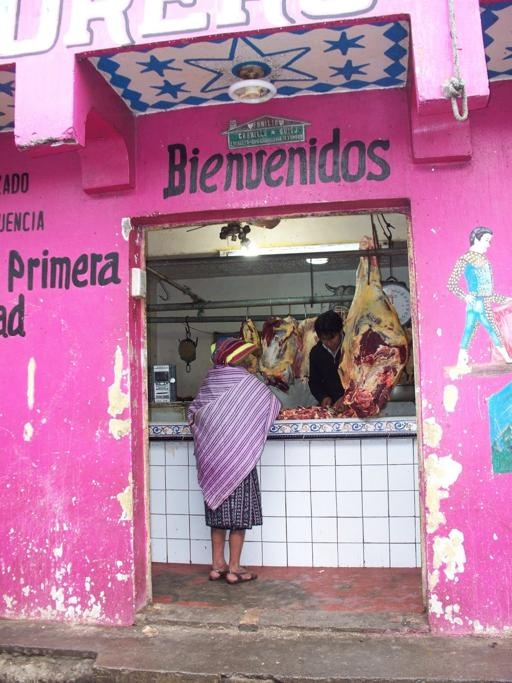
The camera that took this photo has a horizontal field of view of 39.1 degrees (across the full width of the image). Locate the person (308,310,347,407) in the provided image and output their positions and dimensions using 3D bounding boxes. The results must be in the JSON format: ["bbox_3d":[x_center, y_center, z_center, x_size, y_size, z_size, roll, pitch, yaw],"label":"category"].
[{"bbox_3d":[0.729,0.166,7.515,0.262,0.804,0.361,-2,-1,-35],"label":"person"}]

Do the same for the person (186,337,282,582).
[{"bbox_3d":[-0.201,0.905,5.587,0.596,1.391,0.626,-2,-1,-42],"label":"person"}]

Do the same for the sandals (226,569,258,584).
[{"bbox_3d":[-0.103,1.765,5.478,0.101,0.073,0.186,-3,-4,44],"label":"sandals"}]

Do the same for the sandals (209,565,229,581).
[{"bbox_3d":[-0.283,1.802,5.606,0.067,0.072,0.179,0,-1,25],"label":"sandals"}]

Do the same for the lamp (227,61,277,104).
[{"bbox_3d":[-0.023,-1.541,4.348,0.270,0.169,0.363,-2,-1,0],"label":"lamp"}]

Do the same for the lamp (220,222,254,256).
[{"bbox_3d":[-0.196,-1.048,7.297,0.324,0.375,0.156,5,2,5],"label":"lamp"}]
